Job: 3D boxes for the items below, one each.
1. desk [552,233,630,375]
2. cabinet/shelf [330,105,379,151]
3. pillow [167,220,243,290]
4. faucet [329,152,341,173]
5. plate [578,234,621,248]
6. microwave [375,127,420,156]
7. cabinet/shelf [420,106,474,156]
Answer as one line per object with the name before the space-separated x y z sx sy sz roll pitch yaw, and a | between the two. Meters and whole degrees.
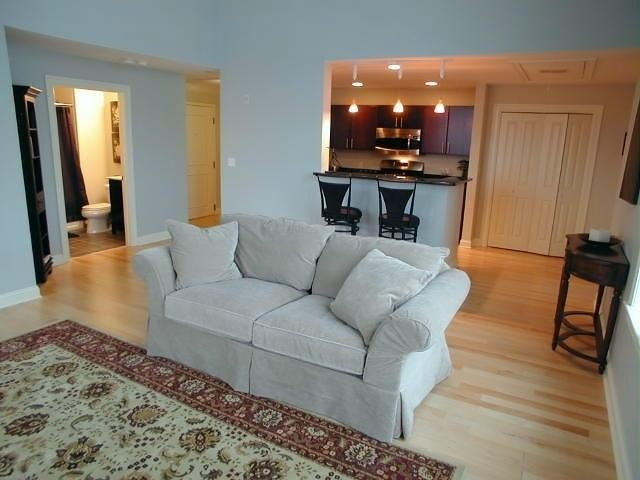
desk | 2.413 0.592 3.964 0.398 0.890 1.025 12 21 36
cabinet/shelf | 0.683 -2.179 8.441 0.877 0.765 0.339 6 12 25
pillow | -0.967 0.145 3.759 0.514 0.436 0.237 -8 17 -30
faucet | 0.288 -1.606 8.810 0.202 0.381 0.340 1 13 1
plate | 2.474 0.019 4.019 0.212 0.051 0.218 4 14 19
microwave | 1.391 -1.829 8.083 0.881 0.458 0.221 13 18 42
cabinet/shelf | 2.285 -1.927 7.751 0.960 0.828 0.382 13 28 34
